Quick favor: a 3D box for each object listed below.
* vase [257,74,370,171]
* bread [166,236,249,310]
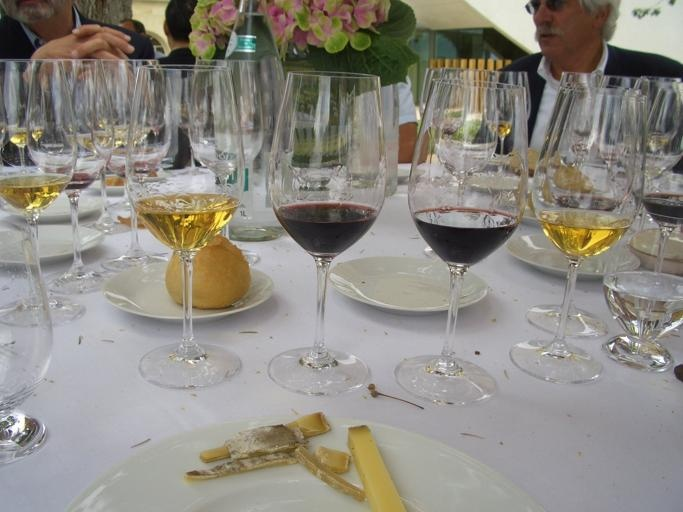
[{"bbox_3d":[-0.027,-0.182,0.827,0.122,0.142,0.133,2,12,-5],"label":"vase"},{"bbox_3d":[-0.253,0.025,1.067,0.142,0.140,0.154,7,11,32],"label":"bread"}]
